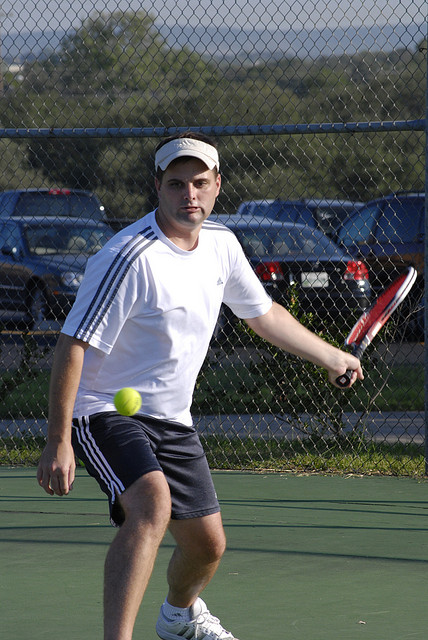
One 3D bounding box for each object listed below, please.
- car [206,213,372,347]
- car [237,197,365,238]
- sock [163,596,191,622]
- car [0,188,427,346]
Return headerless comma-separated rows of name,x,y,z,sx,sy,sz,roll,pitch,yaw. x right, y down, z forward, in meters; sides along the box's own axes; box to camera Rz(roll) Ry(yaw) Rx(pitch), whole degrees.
car,1.019,-1.039,11.045,1.522,1.150,3.382,-4,20,-10
car,1.535,-1.704,11.510,2.322,0.805,1.060,0,8,10
sock,-0.110,0.838,2.138,0.062,0.037,0.061,0,0,33
car,-0.313,-0.861,10.085,6.378,1.856,2.695,0,3,7
